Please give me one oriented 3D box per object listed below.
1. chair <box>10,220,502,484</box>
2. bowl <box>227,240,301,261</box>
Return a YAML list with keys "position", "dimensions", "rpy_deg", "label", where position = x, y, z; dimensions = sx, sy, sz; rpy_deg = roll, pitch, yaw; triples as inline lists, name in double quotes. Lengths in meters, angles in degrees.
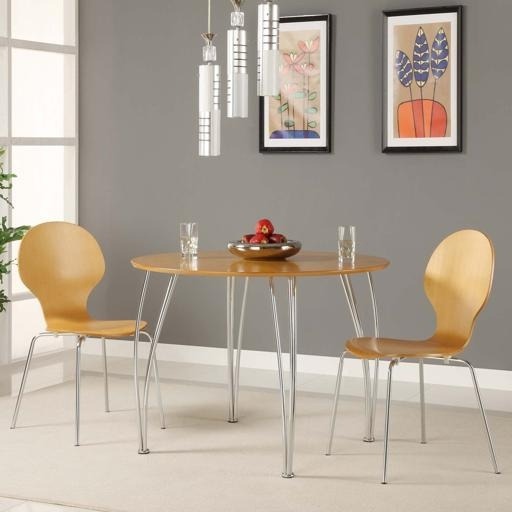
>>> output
- position: [-0.045, 0.329, 2.662]
  dimensions: [2.134, 0.988, 1.261]
  rpy_deg: [1, 3, 37]
  label: "chair"
- position: [0.034, -0.027, 2.482]
  dimensions: [0.301, 0.081, 0.176]
  rpy_deg: [0, 2, 0]
  label: "bowl"
